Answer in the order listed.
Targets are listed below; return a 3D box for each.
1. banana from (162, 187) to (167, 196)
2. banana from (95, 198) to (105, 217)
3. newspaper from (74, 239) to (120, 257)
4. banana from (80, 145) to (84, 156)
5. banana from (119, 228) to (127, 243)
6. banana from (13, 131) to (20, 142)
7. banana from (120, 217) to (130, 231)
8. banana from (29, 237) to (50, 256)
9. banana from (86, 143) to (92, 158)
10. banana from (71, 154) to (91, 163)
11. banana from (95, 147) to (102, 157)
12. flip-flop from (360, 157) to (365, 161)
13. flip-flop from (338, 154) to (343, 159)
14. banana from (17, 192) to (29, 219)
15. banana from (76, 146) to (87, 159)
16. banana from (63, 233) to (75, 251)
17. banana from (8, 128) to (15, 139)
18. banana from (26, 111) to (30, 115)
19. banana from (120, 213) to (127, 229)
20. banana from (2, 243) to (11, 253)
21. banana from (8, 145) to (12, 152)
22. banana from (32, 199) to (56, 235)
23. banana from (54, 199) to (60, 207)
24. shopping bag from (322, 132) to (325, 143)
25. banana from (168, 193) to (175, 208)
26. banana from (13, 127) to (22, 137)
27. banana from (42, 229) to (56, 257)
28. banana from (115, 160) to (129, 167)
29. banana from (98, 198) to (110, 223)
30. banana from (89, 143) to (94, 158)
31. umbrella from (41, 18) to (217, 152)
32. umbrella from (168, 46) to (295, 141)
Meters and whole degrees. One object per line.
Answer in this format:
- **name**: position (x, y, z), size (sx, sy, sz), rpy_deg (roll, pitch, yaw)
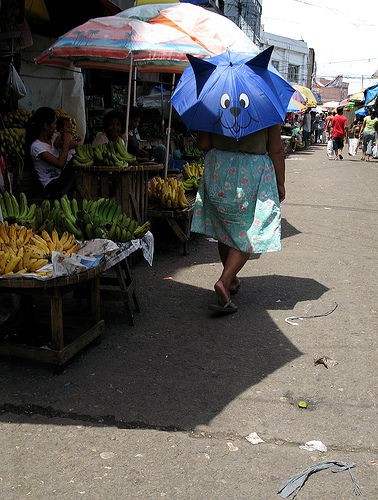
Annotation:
- **banana**: position (-0.322, -0.765, 5.723), size (0.061, 0.116, 0.032), rpy_deg (-12, -11, -35)
- **banana**: position (-0.748, -0.359, 3.696), size (0.044, 0.173, 0.047), rpy_deg (31, -11, -27)
- **newspaper**: position (-0.619, -0.026, 2.936), size (0.212, 0.053, 0.130), rpy_deg (-5, 34, 7)
- **banana**: position (-1.167, -1.093, 4.770), size (0.018, 0.076, 0.022), rpy_deg (-13, -10, -11)
- **banana**: position (-0.508, -0.108, 3.386), size (0.046, 0.118, 0.035), rpy_deg (8, 9, -18)
- **banana**: position (-2.318, -1.526, 5.919), size (0.032, 0.133, 0.039), rpy_deg (-27, 5, 17)
- **banana**: position (-0.520, -0.212, 3.593), size (0.059, 0.078, 0.162), rpy_deg (2, 13, 0)
- **banana**: position (-0.968, -0.025, 2.845), size (0.150, 0.052, 0.036), rpy_deg (33, -16, 17)
- **banana**: position (-1.082, -1.076, 4.777), size (0.046, 0.170, 0.029), rpy_deg (-3, -6, -21)
- **banana**: position (-1.136, -0.972, 4.673), size (0.180, 0.079, 0.145), rpy_deg (-2, 14, -16)
- **banana**: position (-0.967, -1.049, 4.664), size (0.034, 0.138, 0.024), rpy_deg (-31, -18, 0)
- **flip-flop**: position (7.586, -3.999, 19.211), size (0.067, 0.172, 0.184), rpy_deg (-20, -15, 31)
- **flip-flop**: position (6.716, -4.140, 19.476), size (0.150, 0.187, 0.658), rpy_deg (8, 14, 24)
- **banana**: position (-1.402, -0.374, 3.703), size (0.057, 0.246, 0.087), rpy_deg (0, -2, -5)
- **banana**: position (-1.164, -1.048, 4.733), size (0.057, 0.038, 0.213), rpy_deg (0, 50, -48)
- **banana**: position (-0.820, -0.054, 3.006), size (0.047, 0.030, 0.128), rpy_deg (-26, 32, 44)
- **banana**: position (-2.382, -1.563, 5.869), size (0.027, 0.111, 0.067), rpy_deg (-32, -12, 25)
- **banana**: position (-2.596, -2.194, 7.056), size (0.067, 0.066, 0.063), rpy_deg (-2, 8, -1)
- **banana**: position (-0.547, -0.254, 3.671), size (0.028, 0.106, 0.019), rpy_deg (31, -33, -19)
- **banana**: position (-1.114, -0.022, 2.688), size (0.026, 0.030, 0.112), rpy_deg (-13, 35, -32)
- **banana**: position (-2.291, -1.301, 5.632), size (0.021, 0.071, 0.055), rpy_deg (-6, -9, -13)
- **banana**: position (-1.141, -0.251, 3.455), size (0.154, 0.178, 0.357), rpy_deg (5, 15, -6)
- **banana**: position (-1.074, -0.381, 3.572), size (0.045, 0.058, 0.021), rpy_deg (-30, 28, -21)
- **shopping bag**: position (10.849, -9.068, 35.432), size (0.275, 0.752, 0.948), rpy_deg (5, 14, 12)
- **banana**: position (-0.217, -0.627, 5.552), size (0.043, 0.179, 0.051), rpy_deg (-13, 9, -40)
- **banana**: position (-2.361, -1.637, 6.043), size (0.053, 0.064, 0.229), rpy_deg (-31, 55, -9)
- **banana**: position (-0.927, -0.047, 2.898), size (0.072, 0.036, 0.201), rpy_deg (23, 31, -54)
- **banana**: position (-0.695, -0.889, 4.566), size (0.082, 0.030, 0.083), rpy_deg (16, 21, 31)
- **banana**: position (-0.714, -0.353, 3.713), size (0.044, 0.277, 0.034), rpy_deg (24, -24, -34)
- **banana**: position (-1.066, -1.082, 4.783), size (0.035, 0.162, 0.039), rpy_deg (-14, 0, -13)
- **umbrella**: position (-0.859, -2.191, 5.686), size (1.946, 1.210, 1.851), rpy_deg (-2, 7, -10)
- **umbrella**: position (0.331, -1.249, 3.496), size (0.981, 0.712, 0.629), rpy_deg (4, 14, 10)
